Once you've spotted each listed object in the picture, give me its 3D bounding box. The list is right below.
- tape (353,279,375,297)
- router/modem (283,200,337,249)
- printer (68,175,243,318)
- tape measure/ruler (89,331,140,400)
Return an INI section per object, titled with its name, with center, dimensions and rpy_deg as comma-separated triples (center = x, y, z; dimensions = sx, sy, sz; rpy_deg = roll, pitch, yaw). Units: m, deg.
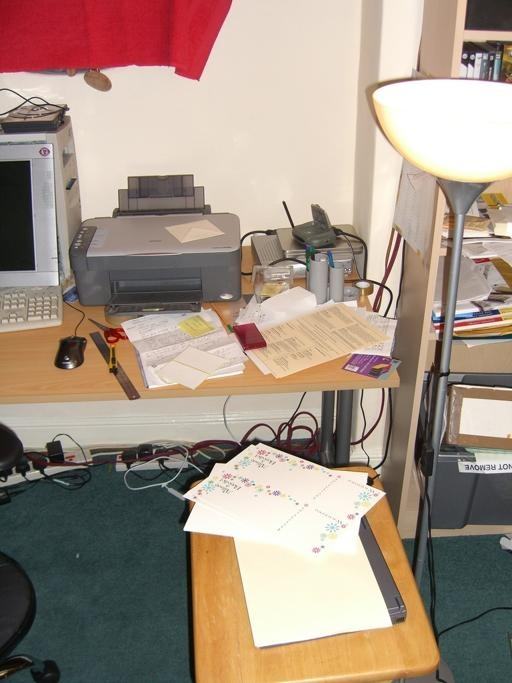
[tape]
center = 0.316, -0.156, 1.514
dimensions = 0.047, 0.026, 0.046
rpy_deg = -9, 33, -7
[router/modem]
center = 0.174, -0.371, 1.664
dimensions = 0.125, 0.140, 0.144
rpy_deg = -21, 36, -30
[printer]
center = -0.271, -0.268, 1.538
dimensions = 0.514, 0.303, 0.442
rpy_deg = -1, 46, -1
[tape measure/ruler]
center = -0.352, 0.053, 1.302
dimensions = 0.033, 0.039, 0.340
rpy_deg = -12, 27, -27
